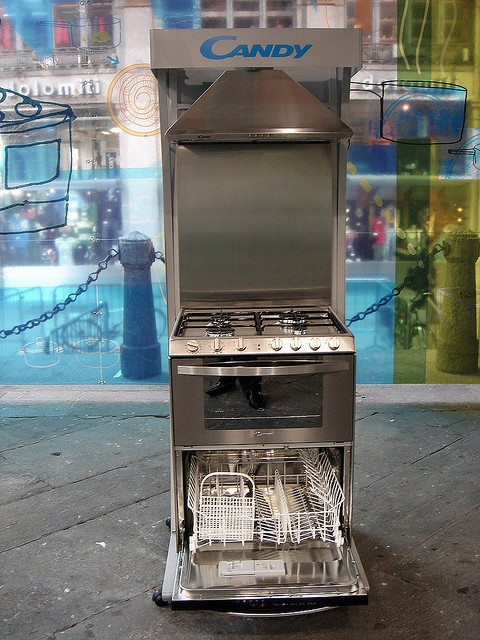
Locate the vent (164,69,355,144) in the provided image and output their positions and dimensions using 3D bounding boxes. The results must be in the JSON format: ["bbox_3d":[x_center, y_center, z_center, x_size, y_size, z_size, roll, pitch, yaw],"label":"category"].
[{"bbox_3d":[0.070,-0.860,2.345,0.709,0.285,0.262,-1,12,0],"label":"vent"}]

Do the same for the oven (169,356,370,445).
[{"bbox_3d":[0.085,0.316,1.919,0.646,0.334,0.450,0,12,0],"label":"oven"}]
